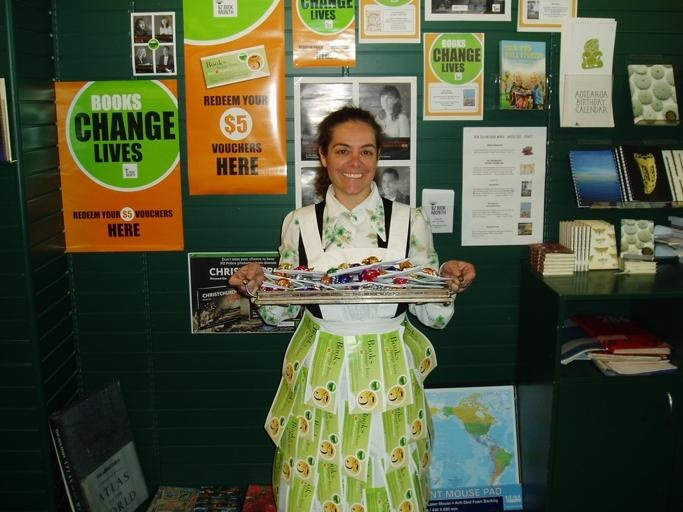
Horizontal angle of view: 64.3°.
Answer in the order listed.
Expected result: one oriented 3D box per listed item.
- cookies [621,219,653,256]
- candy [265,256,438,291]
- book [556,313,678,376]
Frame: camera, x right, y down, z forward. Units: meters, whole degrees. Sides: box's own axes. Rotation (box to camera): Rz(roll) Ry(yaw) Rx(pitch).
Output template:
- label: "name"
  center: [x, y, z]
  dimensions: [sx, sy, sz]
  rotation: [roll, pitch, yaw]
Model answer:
- label: "cookies"
  center: [1.607, -0.099, 2.942]
  dimensions: [0.178, 0.189, 0.044]
  rotation: [0, -2, -1]
- label: "candy"
  center: [0.058, 0.080, 2.088]
  dimensions: [0.693, 0.110, 0.173]
  rotation: [-2, 11, 1]
- label: "book"
  center: [1.411, 0.446, 2.931]
  dimensions: [0.533, 0.250, 0.638]
  rotation: [2, 12, -6]
